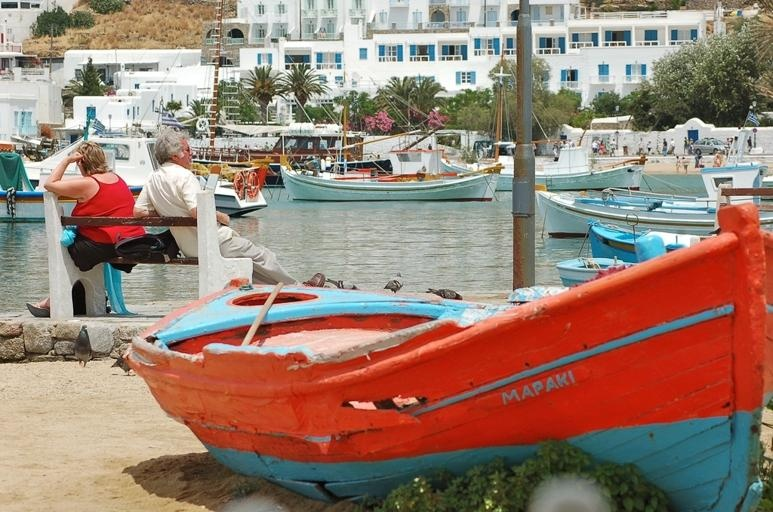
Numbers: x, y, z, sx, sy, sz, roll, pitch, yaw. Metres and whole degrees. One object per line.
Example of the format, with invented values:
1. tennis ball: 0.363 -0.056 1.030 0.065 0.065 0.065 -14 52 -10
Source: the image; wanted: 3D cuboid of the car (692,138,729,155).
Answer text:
1. car: 29.319 -10.059 136.729 3.153 1.270 1.680 -2 1 29
